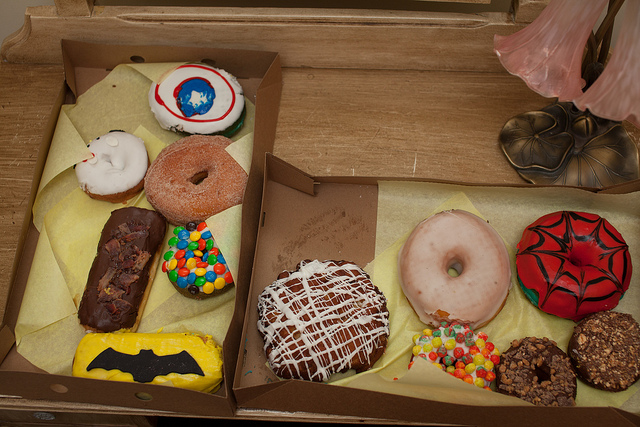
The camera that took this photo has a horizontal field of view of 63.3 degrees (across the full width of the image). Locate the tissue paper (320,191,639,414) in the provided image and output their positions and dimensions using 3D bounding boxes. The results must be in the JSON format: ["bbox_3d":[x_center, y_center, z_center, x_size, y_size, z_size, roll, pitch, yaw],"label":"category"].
[{"bbox_3d":[0.551,0.415,1.754,0.809,0.087,0.697,17,57,6],"label":"tissue paper"}]

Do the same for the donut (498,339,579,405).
[{"bbox_3d":[0.751,0.543,1.797,0.257,0.107,0.196,1,38,4],"label":"donut"}]

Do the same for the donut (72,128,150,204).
[{"bbox_3d":[-0.839,-0.180,2.101,0.271,0.193,0.212,-19,41,-20],"label":"donut"}]

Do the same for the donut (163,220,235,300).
[{"bbox_3d":[-0.478,0.184,1.966,0.216,0.219,0.279,-18,41,-19],"label":"donut"}]

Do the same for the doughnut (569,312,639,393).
[{"bbox_3d":[1.002,0.482,1.805,0.238,0.071,0.236,-33,76,-9],"label":"doughnut"}]

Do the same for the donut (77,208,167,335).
[{"bbox_3d":[-0.750,0.219,2.013,0.228,0.151,0.466,13,80,-1],"label":"donut"}]

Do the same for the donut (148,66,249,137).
[{"bbox_3d":[-0.505,-0.463,2.150,0.322,0.096,0.292,-8,75,-5],"label":"donut"}]
